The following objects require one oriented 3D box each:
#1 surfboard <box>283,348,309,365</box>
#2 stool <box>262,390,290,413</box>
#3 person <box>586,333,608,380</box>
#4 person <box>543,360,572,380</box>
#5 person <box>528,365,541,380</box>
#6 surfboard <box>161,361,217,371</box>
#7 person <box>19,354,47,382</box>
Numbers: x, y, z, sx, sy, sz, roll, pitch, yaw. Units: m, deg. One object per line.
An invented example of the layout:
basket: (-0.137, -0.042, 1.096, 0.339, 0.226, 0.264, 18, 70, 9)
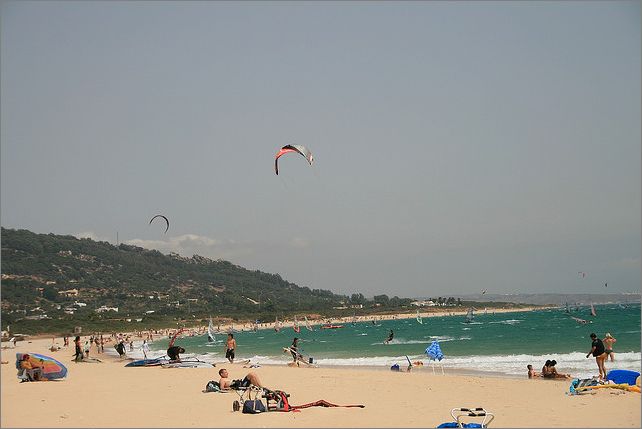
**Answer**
surfboard: (-1.447, 9.450, 32.850, 1.246, 0.633, 4.184, 2, -5, -9)
stool: (-1.701, 7.043, 18.783, 1.016, 0.425, 0.633, -2, -4, 7)
person: (12.172, 6.196, 21.905, 0.702, 1.963, 0.686, 2, -9, -31)
person: (11.370, 7.542, 24.159, 1.179, 0.799, 0.805, -7, -15, 20)
person: (10.586, 7.779, 24.614, 0.558, 0.586, 1.064, -8, -15, 22)
surfboard: (-7.062, 7.872, 26.010, 1.935, 0.338, 1.137, 1, -6, -4)
person: (-12.832, 6.836, 21.968, 1.239, 1.458, 1.003, 0, -3, -23)
